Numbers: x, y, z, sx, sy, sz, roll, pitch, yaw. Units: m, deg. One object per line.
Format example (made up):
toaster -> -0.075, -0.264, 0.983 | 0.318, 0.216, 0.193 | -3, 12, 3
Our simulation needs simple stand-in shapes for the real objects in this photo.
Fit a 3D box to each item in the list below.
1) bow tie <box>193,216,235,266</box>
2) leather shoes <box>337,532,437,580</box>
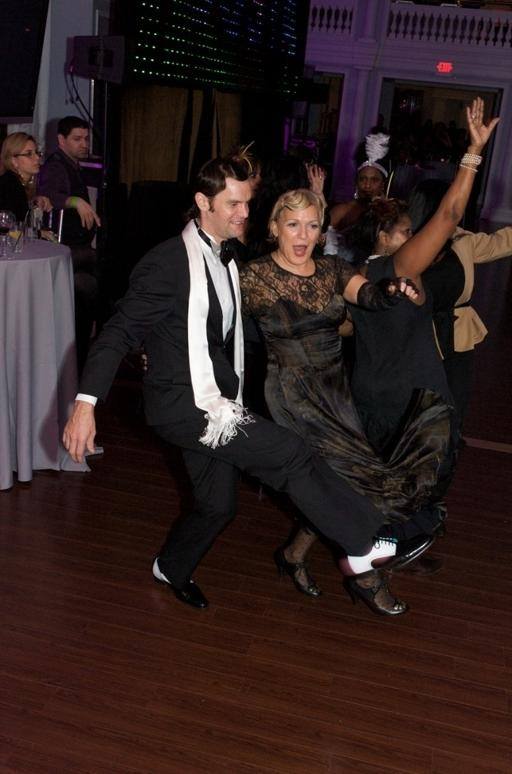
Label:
bow tie -> -0.147, -0.481, 1.899 | 0.155, 0.080, 0.119 | 36, 23, 27
leather shoes -> 0.418, 0.545, 1.971 | 0.340, 0.142, 0.114 | -21, 11, 12
